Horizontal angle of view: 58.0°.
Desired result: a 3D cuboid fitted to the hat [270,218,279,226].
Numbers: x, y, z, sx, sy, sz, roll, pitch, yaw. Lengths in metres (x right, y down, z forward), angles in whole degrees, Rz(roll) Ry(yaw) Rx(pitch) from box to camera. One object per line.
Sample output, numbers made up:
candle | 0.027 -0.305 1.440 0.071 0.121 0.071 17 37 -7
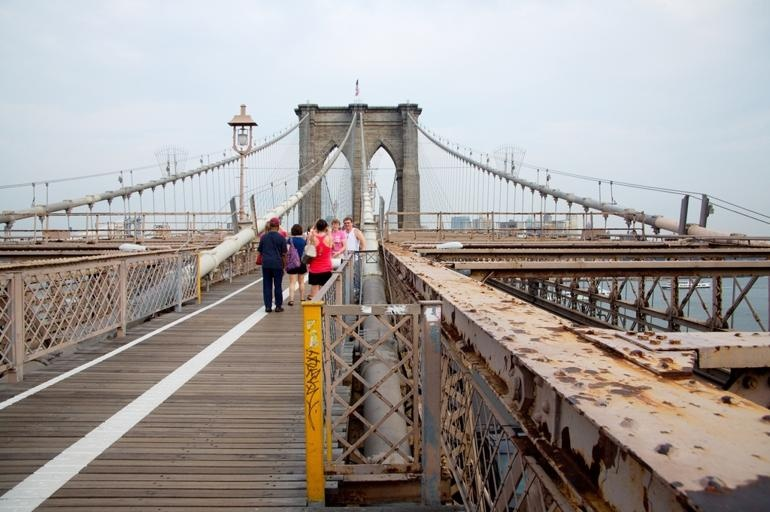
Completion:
hat | -1.850 -0.570 11.596 0.201 0.133 0.286 1 5 -9

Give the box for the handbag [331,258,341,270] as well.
handbag | -0.916 0.128 12.934 0.230 0.168 0.229 -2 -6 34

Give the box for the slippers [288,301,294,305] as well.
slippers | -1.773 0.879 13.011 0.080 0.076 0.190 0 2 -7

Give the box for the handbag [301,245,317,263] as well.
handbag | -1.226 -0.026 11.153 0.104 0.209 0.208 21 -46 -28
